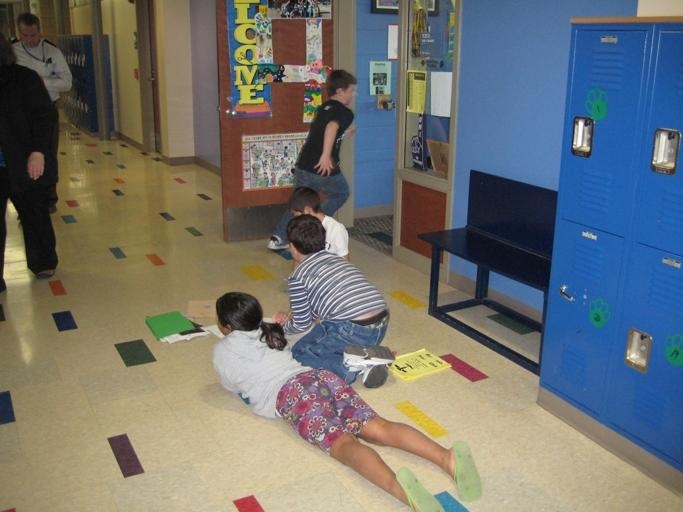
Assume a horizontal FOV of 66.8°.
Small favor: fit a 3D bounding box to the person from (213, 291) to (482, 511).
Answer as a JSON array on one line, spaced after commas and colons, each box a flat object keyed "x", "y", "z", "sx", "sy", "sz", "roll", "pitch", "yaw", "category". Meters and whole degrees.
[{"x": -0.064, "y": 0.672, "z": 2.571, "sx": 1.489, "sy": 0.751, "sz": 0.427, "roll": 17, "pitch": 27, "yaw": 38, "category": "person"}]

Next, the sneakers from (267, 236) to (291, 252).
[{"x": -0.641, "y": -0.135, "z": 5.313, "sx": 0.105, "sy": 0.113, "sz": 0.265, "roll": 15, "pitch": 24, "yaw": 26, "category": "sneakers"}]

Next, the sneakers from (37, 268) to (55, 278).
[{"x": -2.607, "y": 0.158, "z": 4.565, "sx": 0.087, "sy": 0.049, "sz": 0.110, "roll": -3, "pitch": 7, "yaw": 1, "category": "sneakers"}]

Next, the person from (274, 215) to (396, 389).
[{"x": -0.063, "y": 0.261, "z": 3.245, "sx": 0.661, "sy": 0.912, "sz": 0.795, "roll": -12, "pitch": 16, "yaw": -26, "category": "person"}]

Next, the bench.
[{"x": 1.098, "y": 0.135, "z": 3.806, "sx": 0.489, "sy": 0.935, "sz": 1.195, "roll": -13, "pitch": 26, "yaw": -30, "category": "bench"}]

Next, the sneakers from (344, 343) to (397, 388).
[{"x": 0.159, "y": 0.635, "z": 3.104, "sx": 0.321, "sy": 0.201, "sz": 0.113, "roll": -19, "pitch": 33, "yaw": 3, "category": "sneakers"}]

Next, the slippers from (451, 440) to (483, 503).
[{"x": 0.548, "y": 0.961, "z": 2.278, "sx": 0.139, "sy": 0.264, "sz": 0.060, "roll": -10, "pitch": 1, "yaw": -3, "category": "slippers"}]
